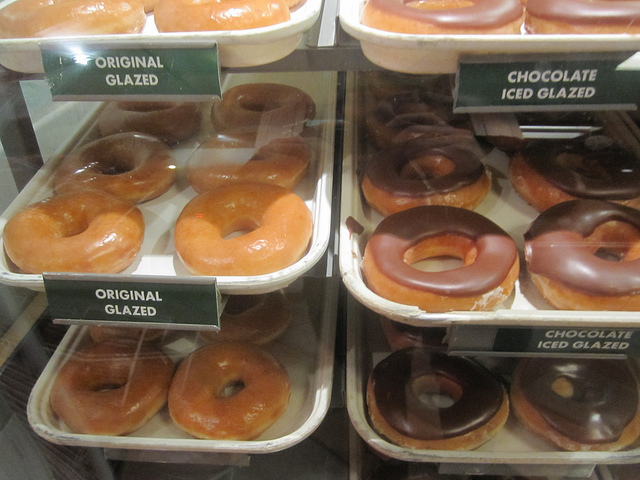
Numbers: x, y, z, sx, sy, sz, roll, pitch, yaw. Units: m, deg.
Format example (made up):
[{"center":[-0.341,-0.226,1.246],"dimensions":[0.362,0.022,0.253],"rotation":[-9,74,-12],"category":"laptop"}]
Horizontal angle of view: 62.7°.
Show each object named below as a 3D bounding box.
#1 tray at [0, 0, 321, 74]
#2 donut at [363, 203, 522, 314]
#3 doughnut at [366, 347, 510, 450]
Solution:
[{"center":[-0.308,-0.437,1.138],"dimensions":[0.428,0.060,0.283],"rotation":[-2,37,2],"category":"tray"},{"center":[0.302,0.055,1.320],"dimensions":[0.378,0.142,0.373],"rotation":[16,41,29],"category":"donut"},{"center":[0.300,0.404,1.351],"dimensions":[0.276,0.095,0.277],"rotation":[7,37,12],"category":"doughnut"}]
